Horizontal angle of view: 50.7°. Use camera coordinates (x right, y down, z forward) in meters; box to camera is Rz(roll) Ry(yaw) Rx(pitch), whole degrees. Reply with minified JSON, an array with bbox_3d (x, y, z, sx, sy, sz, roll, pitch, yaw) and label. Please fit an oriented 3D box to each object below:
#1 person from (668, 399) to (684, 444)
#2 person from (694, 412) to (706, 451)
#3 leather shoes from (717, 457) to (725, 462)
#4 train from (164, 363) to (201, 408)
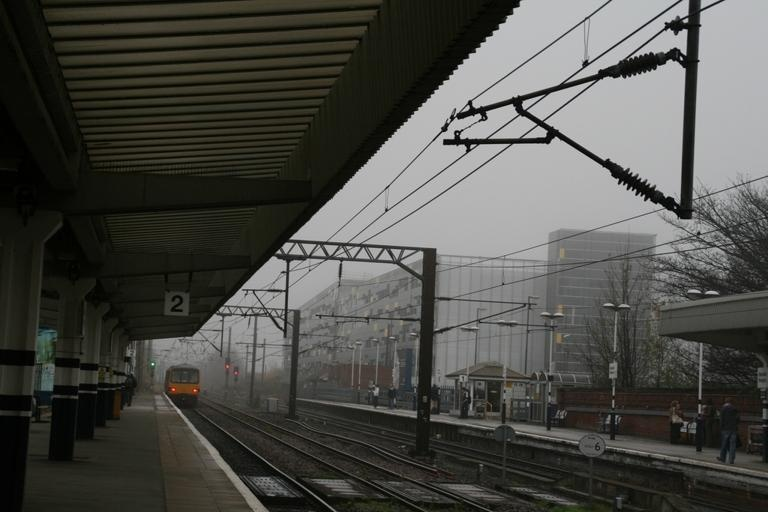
[{"bbox_3d":[10.783,6.090,29.856,0.454,1.547,0.950,-4,-14,24],"label":"person"},{"bbox_3d":[10.563,5.838,27.032,0.314,1.336,1.996,-4,-15,21],"label":"person"},{"bbox_3d":[9.775,5.867,23.452,0.158,0.202,0.462,-3,-18,13],"label":"leather shoes"},{"bbox_3d":[-15.706,9.956,62.998,2.770,3.227,1.708,-1,-13,9],"label":"train"}]
